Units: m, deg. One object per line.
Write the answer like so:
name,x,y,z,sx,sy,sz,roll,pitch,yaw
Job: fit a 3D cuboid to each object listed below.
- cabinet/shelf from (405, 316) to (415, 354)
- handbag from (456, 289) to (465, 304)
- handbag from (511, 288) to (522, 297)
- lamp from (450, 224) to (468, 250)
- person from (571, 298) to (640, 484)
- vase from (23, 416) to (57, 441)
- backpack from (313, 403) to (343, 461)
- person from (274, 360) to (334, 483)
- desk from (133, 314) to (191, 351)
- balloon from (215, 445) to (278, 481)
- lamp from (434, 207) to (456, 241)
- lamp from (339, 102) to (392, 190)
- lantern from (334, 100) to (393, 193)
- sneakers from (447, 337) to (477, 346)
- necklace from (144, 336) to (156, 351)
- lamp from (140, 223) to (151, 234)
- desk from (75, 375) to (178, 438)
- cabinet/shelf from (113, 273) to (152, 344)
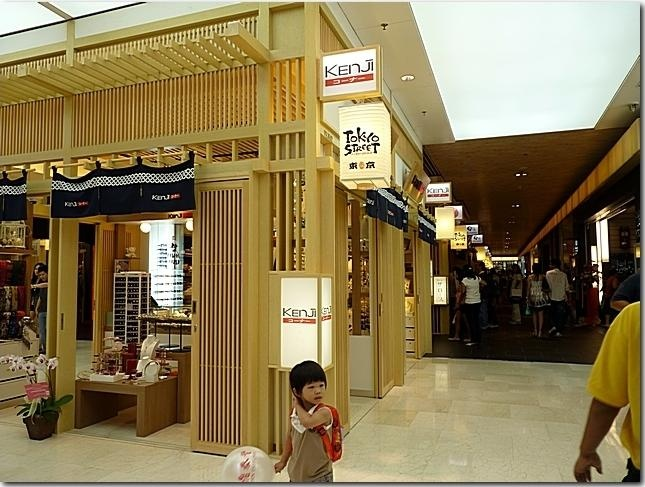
cabinet/shelf,1.905,2.002,10.237,0.209,0.817,0.217,-1,-1,15
handbag,3.422,1.339,11.794,0.266,0.523,0.372,3,-6,10
handbag,6.083,1.548,14.813,0.252,0.269,0.158,5,-6,-3
lamp,3.911,-0.178,13.628,0.637,0.945,0.491,-1,-13,14
person,1.720,0.912,2.858,0.353,1.134,0.301,-1,-1,31
vase,-3.461,2.246,5.786,0.287,0.306,0.360,4,-7,-33
backpack,0.015,1.474,3.652,0.236,0.460,0.332,-4,-19,3
person,-0.137,1.332,3.566,0.434,0.880,0.241,-1,-1,26
desk,-2.433,1.370,7.341,0.709,0.272,0.740,0,-6,9
balloon,-0.562,1.643,3.635,0.281,0.302,0.122,9,-18,-4
lamp,2.944,-0.481,11.402,0.407,0.799,0.455,-1,-1,11
lamp,0.454,-1.093,5.600,0.616,1.042,0.611,-6,-16,15
lantern,0.445,-1.342,5.531,0.623,0.642,1.033,-11,-48,-4
sneakers,3.568,2.481,11.977,0.659,0.280,0.208,5,0,40
necklace,-2.330,1.352,6.373,0.119,0.082,0.163,1,33,7
lamp,-3.763,-0.327,10.026,0.133,0.143,0.159,7,-14,-6
desk,-2.621,2.150,6.331,1.078,0.625,1.073,5,-11,20
cabinet/shelf,-4.253,1.270,10.266,0.629,1.523,0.525,0,13,-28
